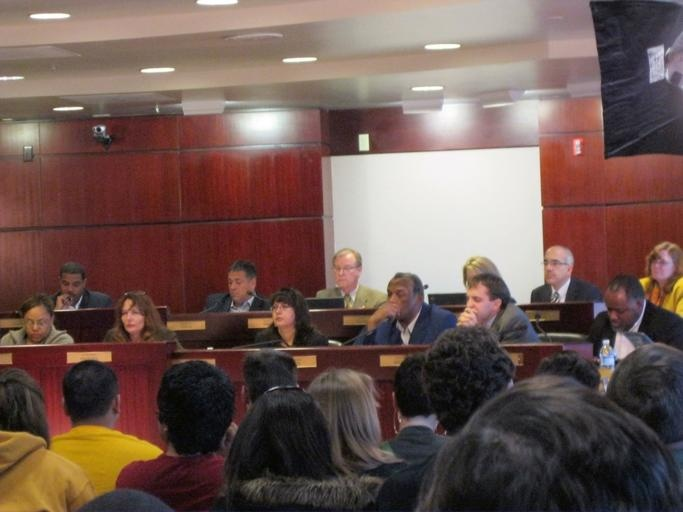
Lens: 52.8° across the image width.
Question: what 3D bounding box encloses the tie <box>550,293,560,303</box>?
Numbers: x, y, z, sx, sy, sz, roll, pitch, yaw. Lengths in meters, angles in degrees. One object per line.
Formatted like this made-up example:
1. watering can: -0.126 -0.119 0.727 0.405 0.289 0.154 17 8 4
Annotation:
1. tie: 1.813 0.359 5.864 0.073 0.105 0.103 1 -3 -11

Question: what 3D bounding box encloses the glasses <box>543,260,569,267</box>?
1. glasses: 1.829 0.060 5.874 0.178 0.052 0.074 -1 0 30

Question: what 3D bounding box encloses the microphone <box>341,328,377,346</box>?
1. microphone: 0.114 0.511 4.368 0.128 0.107 0.222 -15 -17 40

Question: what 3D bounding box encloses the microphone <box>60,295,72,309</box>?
1. microphone: -2.423 0.408 6.052 0.045 0.156 0.038 0 -30 -1

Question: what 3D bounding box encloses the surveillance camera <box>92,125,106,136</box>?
1. surveillance camera: -2.508 -1.295 7.154 0.119 0.074 0.120 0 -1 -2

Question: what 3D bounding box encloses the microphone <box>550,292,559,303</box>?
1. microphone: 1.813 0.357 5.873 0.086 0.084 0.065 10 -13 -43

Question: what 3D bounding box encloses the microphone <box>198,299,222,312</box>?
1. microphone: -1.181 0.453 6.208 0.129 0.063 0.174 -7 -39 -14
